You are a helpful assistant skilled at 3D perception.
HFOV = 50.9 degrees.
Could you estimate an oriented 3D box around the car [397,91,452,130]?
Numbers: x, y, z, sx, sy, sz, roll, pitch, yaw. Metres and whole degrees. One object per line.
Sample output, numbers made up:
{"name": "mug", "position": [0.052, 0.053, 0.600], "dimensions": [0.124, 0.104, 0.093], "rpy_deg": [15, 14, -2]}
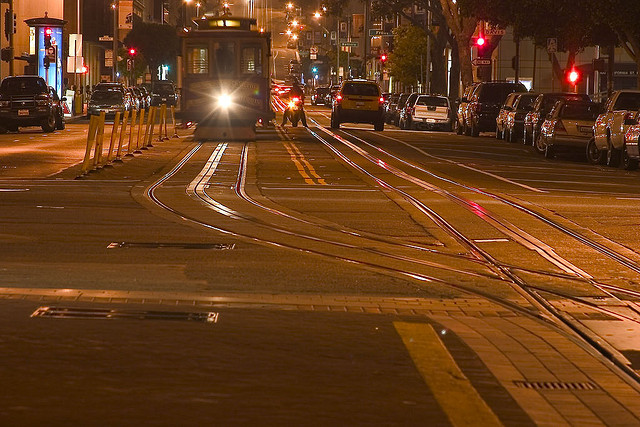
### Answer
{"name": "car", "position": [7.666, -7.464, 49.603], "dimensions": [2.911, 2.682, 3.737], "rpy_deg": [-3, 8, -29]}

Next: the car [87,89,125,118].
{"name": "car", "position": [-17.669, -8.762, 55.267], "dimensions": [2.590, 2.763, 5.389], "rpy_deg": [-2, 1, -17]}

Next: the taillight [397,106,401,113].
{"name": "taillight", "position": [6.353, -8.418, 54.609], "dimensions": [0.142, 0.425, 0.297], "rpy_deg": [10, 9, 39]}

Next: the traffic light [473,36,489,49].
{"name": "traffic light", "position": [12.678, -13.508, 53.179], "dimensions": [0.866, 0.996, 2.445], "rpy_deg": [3, 8, 17]}

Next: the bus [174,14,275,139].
{"name": "bus", "position": [-4.919, -6.559, 34.525], "dimensions": [4.358, 5.424, 2.073], "rpy_deg": [2, 5, 9]}

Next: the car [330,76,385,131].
{"name": "car", "position": [2.454, -7.133, 44.224], "dimensions": [3.311, 3.336, 2.074], "rpy_deg": [1, 5, 2]}

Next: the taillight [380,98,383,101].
{"name": "taillight", "position": [3.926, -7.388, 43.733], "dimensions": [0.196, 0.224, 0.049], "rpy_deg": [-2, -3, -26]}

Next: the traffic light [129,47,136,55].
{"name": "traffic light", "position": [-22.397, -19.406, 79.768], "dimensions": [0.989, 1.217, 1.137], "rpy_deg": [-1, 4, -11]}

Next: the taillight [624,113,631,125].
{"name": "taillight", "position": [10.503, -3.234, 23.052], "dimensions": [0.183, 0.385, 0.534], "rpy_deg": [3, 8, 26]}
